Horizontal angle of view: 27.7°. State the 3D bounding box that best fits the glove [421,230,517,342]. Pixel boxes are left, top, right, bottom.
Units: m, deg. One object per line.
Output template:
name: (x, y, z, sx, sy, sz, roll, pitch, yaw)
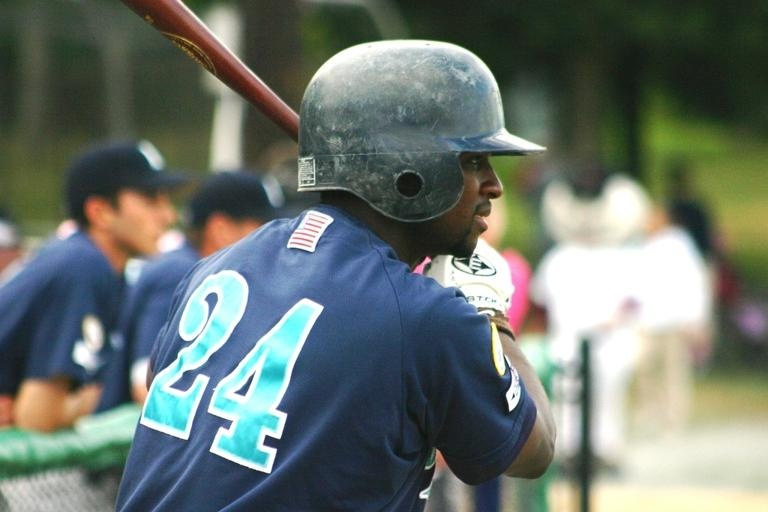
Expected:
glove: (0.594, 0.127, 9.369, 0.589, 0.553, 0.481, 38, -9, 17)
